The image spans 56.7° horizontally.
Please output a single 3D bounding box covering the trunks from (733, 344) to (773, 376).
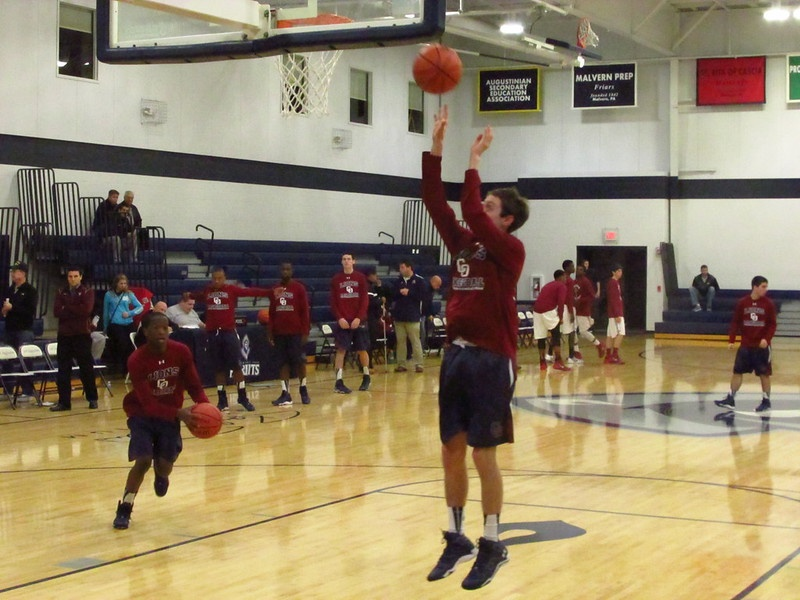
[{"bbox_3d":[4.622,0.799,9.752,0.428,0.393,0.275,2,7,26],"label":"trunks"}]

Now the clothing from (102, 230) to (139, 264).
[{"bbox_3d":[-5.052,-0.946,13.480,0.604,0.649,0.461,-16,-13,42],"label":"clothing"}]

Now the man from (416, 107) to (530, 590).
[{"bbox_3d":[0.368,0.286,4.238,0.549,2.785,0.701,2,6,27],"label":"man"}]

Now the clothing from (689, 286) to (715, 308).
[{"bbox_3d":[8.544,-0.037,20.982,0.507,0.545,0.642,-3,-7,22],"label":"clothing"}]

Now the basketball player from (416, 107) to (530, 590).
[{"bbox_3d":[0.373,0.286,4.233,0.555,2.785,0.705,1,6,25],"label":"basketball player"}]

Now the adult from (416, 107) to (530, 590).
[{"bbox_3d":[0.370,0.286,4.235,0.547,2.785,0.698,2,6,27],"label":"adult"}]

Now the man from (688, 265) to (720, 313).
[{"bbox_3d":[8.599,-0.279,21.062,0.934,1.721,1.140,-1,-12,21],"label":"man"}]

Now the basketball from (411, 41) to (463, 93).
[{"bbox_3d":[0.226,-1.350,4.527,0.278,0.312,0.347,-2,-1,-11],"label":"basketball"}]

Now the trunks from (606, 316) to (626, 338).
[{"bbox_3d":[4.432,0.565,15.234,0.288,0.473,0.510,0,6,11],"label":"trunks"}]

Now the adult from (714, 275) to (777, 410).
[{"bbox_3d":[4.556,0.581,9.784,0.666,1.804,0.541,1,5,16],"label":"adult"}]

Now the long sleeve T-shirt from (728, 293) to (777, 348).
[{"bbox_3d":[4.636,0.259,9.753,0.550,0.733,0.379,7,16,41],"label":"long sleeve T-shirt"}]

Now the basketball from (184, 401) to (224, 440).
[{"bbox_3d":[-1.420,0.882,5.349,0.238,0.260,0.222,-3,6,-19],"label":"basketball"}]

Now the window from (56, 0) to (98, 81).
[{"bbox_3d":[-6.194,-4.956,14.141,0.163,1.373,0.773,3,7,39],"label":"window"}]

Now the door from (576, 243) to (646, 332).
[{"bbox_3d":[6.829,-0.349,23.677,2.128,3.095,0.127,-2,22,15],"label":"door"}]

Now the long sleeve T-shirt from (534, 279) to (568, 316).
[{"bbox_3d":[3.057,-0.042,14.927,0.611,0.706,0.408,29,12,39],"label":"long sleeve T-shirt"}]

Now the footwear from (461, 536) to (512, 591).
[{"bbox_3d":[0.472,1.433,4.093,0.135,0.215,0.441,-8,8,37],"label":"footwear"}]
